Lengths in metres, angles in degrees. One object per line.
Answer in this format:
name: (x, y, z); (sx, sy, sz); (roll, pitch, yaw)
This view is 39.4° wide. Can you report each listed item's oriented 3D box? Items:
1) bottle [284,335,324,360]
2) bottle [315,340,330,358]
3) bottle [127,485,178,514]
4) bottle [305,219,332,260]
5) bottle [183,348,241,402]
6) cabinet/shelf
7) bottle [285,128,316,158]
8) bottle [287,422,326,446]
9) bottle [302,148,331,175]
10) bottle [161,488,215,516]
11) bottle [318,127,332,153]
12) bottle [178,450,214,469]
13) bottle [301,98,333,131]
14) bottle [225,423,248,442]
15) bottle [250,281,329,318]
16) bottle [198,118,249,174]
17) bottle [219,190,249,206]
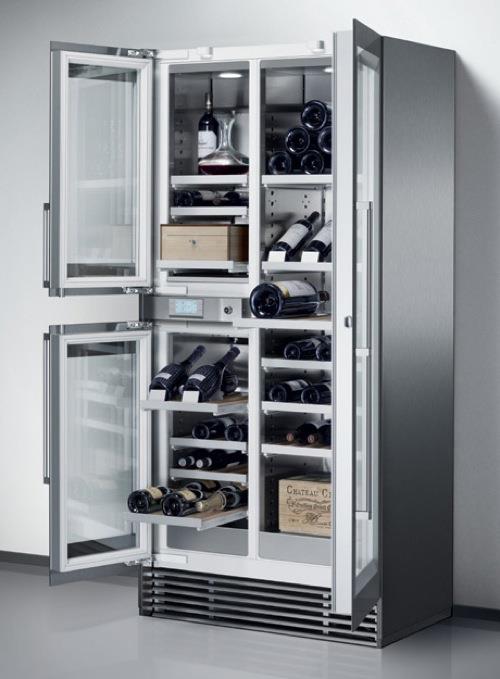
bottle: (0.188, 0.028, 2.355); (0.069, 0.040, 0.116); (-9, 1, 29)
bottle: (0.238, 0.031, 2.263); (0.039, 0.052, 0.019); (5, 2, 27)
bottle: (-0.329, 0.544, 2.363); (0.091, 0.087, 0.339); (-1, -6, 16)
bottle: (0.227, -0.322, 2.293); (0.076, 0.144, 0.237); (1, 4, 20)
bottle: (-0.138, 0.117, 2.358); (0.091, 0.165, 0.269); (1, 4, 27)
cabinet/shelf: (0.018, 0.013, 2.373); (1.158, 1.983, 0.901); (1, 4, 31)
bottle: (0.160, -0.653, 2.317); (0.090, 0.085, 0.037); (5, 14, 22)
bottle: (0.195, 0.322, 2.350); (0.031, 0.033, 0.117); (25, 20, 39)
bottle: (0.214, -0.578, 2.287); (0.099, 0.087, 0.090); (0, 4, 5)
bottle: (-0.212, 0.539, 2.360); (0.126, 0.071, 0.230); (1, 4, 24)
bottle: (0.243, -0.645, 2.272); (0.040, 0.085, 0.072); (-1, 4, 0)
bottle: (-0.198, 0.429, 2.502); (0.104, 0.054, 0.099); (-2, 4, 0)
bottle: (0.218, -0.732, 2.289); (0.099, 0.094, 0.108); (16, 14, 17)
bottle: (-0.037, 0.321, 2.427); (0.064, 0.058, 0.099); (-1, -2, 14)
bottle: (0.135, -0.128, 2.269); (0.252, 0.117, 0.144); (-3, 5, -34)
bottle: (-0.087, -0.678, 2.454); (0.169, 0.225, 0.168); (2, 17, -1)
bottle: (-0.053, -0.499, 2.471); (0.089, 0.042, 0.121); (1, 6, 5)
